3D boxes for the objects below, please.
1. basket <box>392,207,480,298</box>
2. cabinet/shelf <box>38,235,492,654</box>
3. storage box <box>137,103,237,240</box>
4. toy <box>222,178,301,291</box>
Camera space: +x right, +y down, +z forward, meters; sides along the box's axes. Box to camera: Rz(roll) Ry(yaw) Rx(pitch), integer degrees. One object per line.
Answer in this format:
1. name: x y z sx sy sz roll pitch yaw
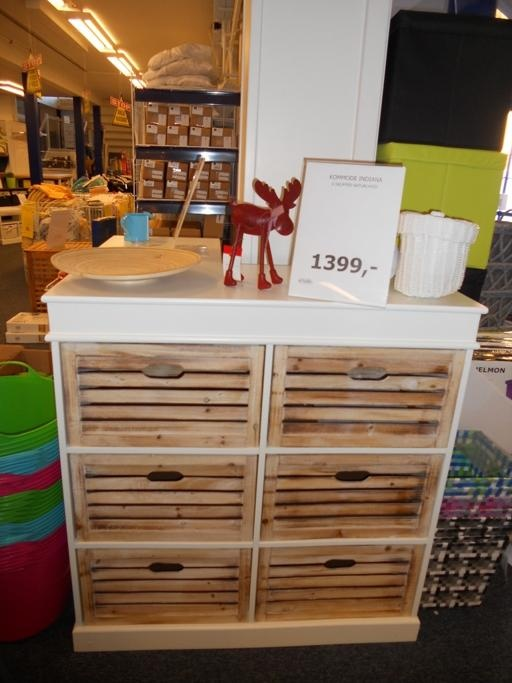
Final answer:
1. basket: 0.475 -0.270 1.759 0.272 0.244 0.233 6 21 15
2. cabinet/shelf: 0.000 0.322 1.817 1.443 1.195 0.745 1 17 -8
3. storage box: -0.474 -1.154 4.242 0.673 1.024 1.296 0 20 -6
4. toy: 0.001 -0.317 1.776 0.206 0.304 0.206 -7 23 -24
